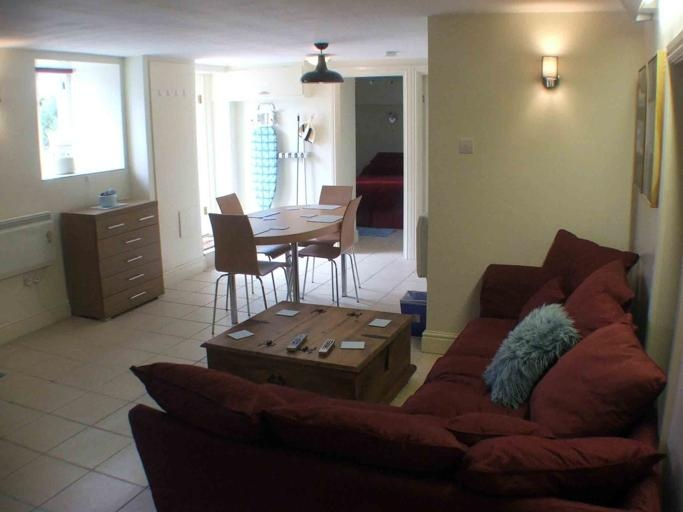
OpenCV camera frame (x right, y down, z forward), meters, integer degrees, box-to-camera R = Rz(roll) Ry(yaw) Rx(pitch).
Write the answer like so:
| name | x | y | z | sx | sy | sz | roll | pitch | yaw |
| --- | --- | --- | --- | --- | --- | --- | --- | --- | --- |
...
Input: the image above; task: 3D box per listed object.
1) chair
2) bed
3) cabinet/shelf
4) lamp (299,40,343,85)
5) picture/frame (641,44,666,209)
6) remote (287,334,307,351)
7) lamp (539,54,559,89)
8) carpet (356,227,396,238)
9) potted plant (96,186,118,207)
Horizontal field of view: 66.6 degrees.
| name | x | y | z | sx | sy | sz | roll | pitch | yaw |
| --- | --- | --- | --- | --- | --- | --- | --- | --- | --- |
| chair | -0.590 | 0.034 | 5.481 | 0.623 | 1.187 | 1.746 | 5 | 12 | 20 |
| bed | 0.708 | -1.346 | 10.593 | 1.040 | 1.165 | 1.920 | 1 | 10 | 13 |
| cabinet/shelf | -2.423 | 0.047 | 5.351 | 0.588 | 1.227 | 1.065 | 2 | 11 | 23 |
| lamp | -0.214 | -2.004 | 5.412 | 0.391 | 0.483 | 0.799 | 0 | 9 | -4 |
| picture/frame | 1.623 | -0.646 | 2.691 | 0.106 | 0.766 | 0.529 | 5 | 10 | 29 |
| remote | -0.297 | 0.573 | 3.447 | 0.049 | 0.039 | 0.167 | 4 | 15 | 15 |
| lamp | 1.565 | -1.373 | 3.877 | 0.130 | 0.236 | 0.082 | 4 | 10 | 20 |
| carpet | 0.628 | -0.416 | 9.094 | 0.666 | 0.076 | 0.861 | 1 | 9 | 4 |
| potted plant | -2.452 | -0.607 | 5.423 | 0.157 | 0.187 | 0.209 | 0 | -1 | -23 |
